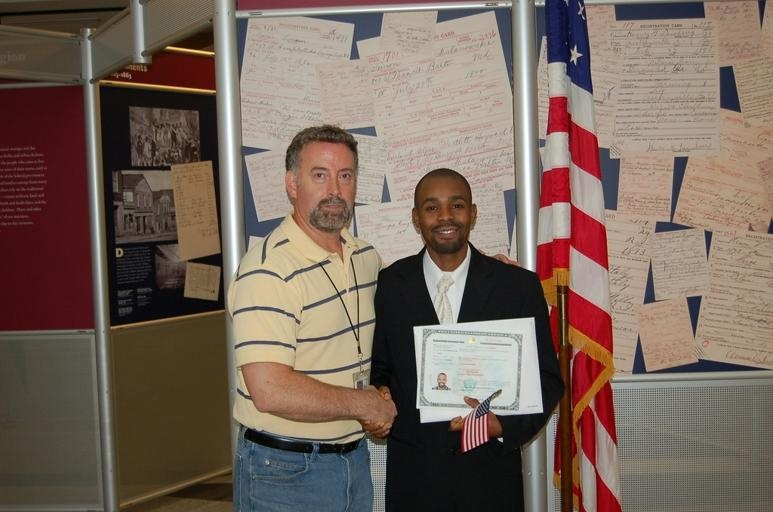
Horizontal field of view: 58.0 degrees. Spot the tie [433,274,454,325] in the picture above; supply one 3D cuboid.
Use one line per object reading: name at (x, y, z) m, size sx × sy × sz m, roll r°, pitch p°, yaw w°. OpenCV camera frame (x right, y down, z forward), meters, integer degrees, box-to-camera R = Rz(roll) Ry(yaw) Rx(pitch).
tie at (0.301, 0.238, 3.636) m, size 0.125 × 0.223 × 0.063 m, roll 5°, pitch -2°, yaw 6°
